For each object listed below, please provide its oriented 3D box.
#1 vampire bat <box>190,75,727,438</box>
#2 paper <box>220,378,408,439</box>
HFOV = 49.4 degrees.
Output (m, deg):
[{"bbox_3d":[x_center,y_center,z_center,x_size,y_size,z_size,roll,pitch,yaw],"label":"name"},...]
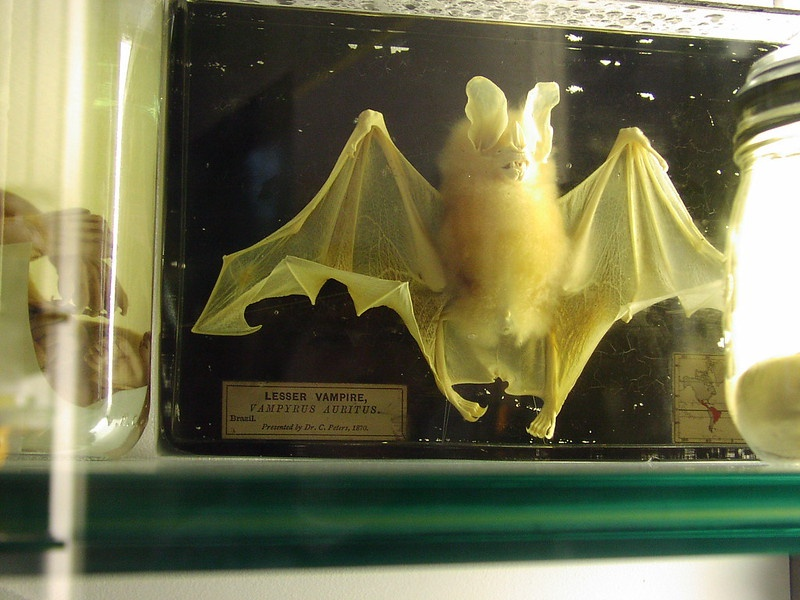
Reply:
[{"bbox_3d":[0.030,-0.030,0.726,0.345,0.182,0.086,3,-6,-13],"label":"vampire bat"},{"bbox_3d":[-0.070,0.089,0.716,0.174,0.054,0.005,3,-18,-41],"label":"paper"}]
